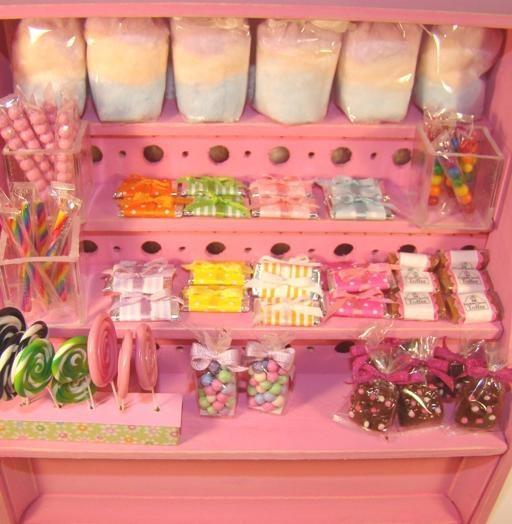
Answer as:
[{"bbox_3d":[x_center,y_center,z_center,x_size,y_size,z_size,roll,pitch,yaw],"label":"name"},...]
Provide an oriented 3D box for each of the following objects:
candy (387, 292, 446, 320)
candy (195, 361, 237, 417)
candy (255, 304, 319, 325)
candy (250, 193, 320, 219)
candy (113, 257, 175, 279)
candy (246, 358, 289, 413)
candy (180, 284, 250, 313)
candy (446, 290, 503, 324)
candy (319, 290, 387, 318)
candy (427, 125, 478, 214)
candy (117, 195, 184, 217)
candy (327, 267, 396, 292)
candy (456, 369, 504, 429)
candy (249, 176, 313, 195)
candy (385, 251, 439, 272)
[{"bbox_3d":[0.517,0.141,1.534,0.185,0.070,0.082,-2,25,1],"label":"candy"},{"bbox_3d":[-0.130,0.409,1.522,0.127,0.223,0.070,-1,27,3],"label":"candy"},{"bbox_3d":[0.104,0.166,1.478,0.158,0.029,0.080,2,45,-2],"label":"candy"},{"bbox_3d":[0.095,-0.182,1.532,0.149,0.036,0.091,1,59,-5],"label":"candy"},{"bbox_3d":[-0.373,0.020,1.568,0.155,0.043,0.084,-1,18,-5],"label":"candy"},{"bbox_3d":[0.040,0.395,1.542,0.158,0.182,0.063,5,25,19],"label":"candy"},{"bbox_3d":[-0.125,0.114,1.521,0.188,0.033,0.090,1,38,-4],"label":"candy"},{"bbox_3d":[0.707,0.146,1.516,0.157,0.045,0.095,-2,67,1],"label":"candy"},{"bbox_3d":[0.330,0.137,1.521,0.146,0.046,0.096,1,49,1],"label":"candy"},{"bbox_3d":[0.621,-0.301,1.500,0.170,0.284,0.170,4,27,13],"label":"candy"},{"bbox_3d":[-0.333,-0.181,1.525,0.166,0.034,0.087,0,35,-6],"label":"candy"},{"bbox_3d":[0.363,0.054,1.572,0.149,0.046,0.101,1,33,4],"label":"candy"},{"bbox_3d":[0.731,0.431,1.512,0.147,0.224,0.110,6,28,18],"label":"candy"},{"bbox_3d":[0.090,-0.263,1.614,0.217,0.055,0.145,0,23,3],"label":"candy"},{"bbox_3d":[0.539,0.003,1.596,0.172,0.075,0.077,0,25,5],"label":"candy"}]
